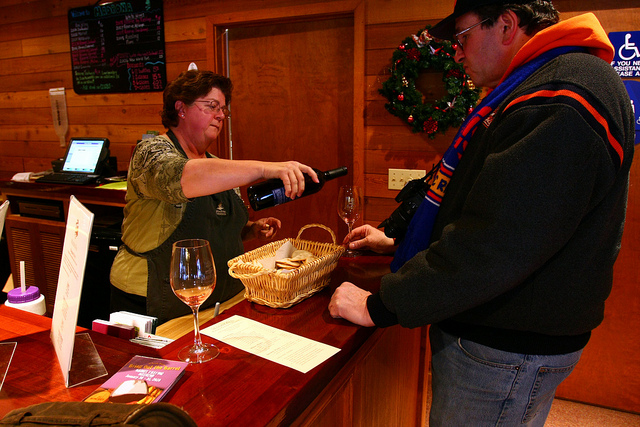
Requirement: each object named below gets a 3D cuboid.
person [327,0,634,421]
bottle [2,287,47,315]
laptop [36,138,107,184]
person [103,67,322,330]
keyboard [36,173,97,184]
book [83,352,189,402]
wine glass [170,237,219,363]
[{"bbox_3d":[0.582,0.034,1.609,0.734,1.456,0.478,8,13,25],"label":"person"},{"bbox_3d":[-1.147,0.337,1.923,0.138,0.115,0.140,11,12,41],"label":"bottle"},{"bbox_3d":[-1.968,-0.429,3.911,0.458,0.343,0.388,6,8,29],"label":"laptop"},{"bbox_3d":[-0.494,-0.049,2.157,0.808,1.172,1.195,-2,12,-23],"label":"person"},{"bbox_3d":[-1.986,-0.274,3.847,0.496,0.068,0.180,8,12,24],"label":"keyboard"},{"bbox_3d":[-0.535,0.486,1.471,0.225,0.291,0.027,19,34,-34],"label":"book"},{"bbox_3d":[-0.412,0.280,1.602,0.140,0.363,0.195,-3,13,-28],"label":"wine glass"}]
